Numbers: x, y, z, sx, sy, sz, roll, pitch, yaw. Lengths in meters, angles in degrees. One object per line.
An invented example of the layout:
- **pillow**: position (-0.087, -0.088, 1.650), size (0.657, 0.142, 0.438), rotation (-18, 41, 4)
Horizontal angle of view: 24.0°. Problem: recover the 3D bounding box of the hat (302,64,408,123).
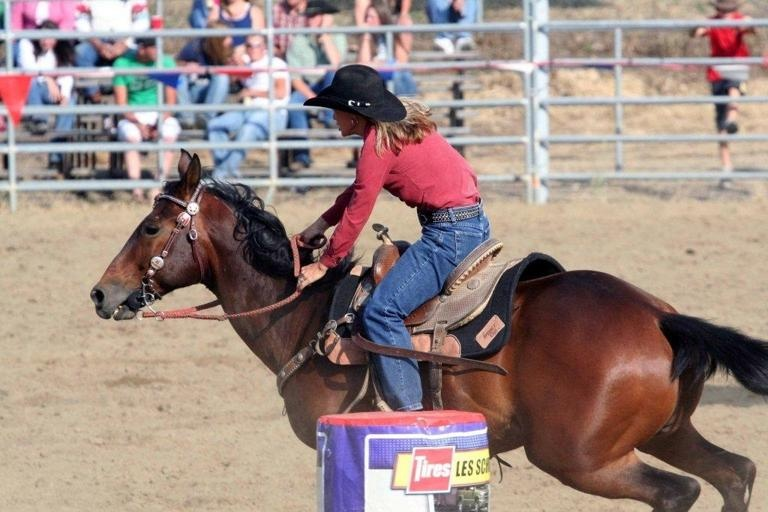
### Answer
- **hat**: position (-0.216, -1.472, 16.414), size (0.698, 0.280, 0.535), rotation (17, 28, 4)
